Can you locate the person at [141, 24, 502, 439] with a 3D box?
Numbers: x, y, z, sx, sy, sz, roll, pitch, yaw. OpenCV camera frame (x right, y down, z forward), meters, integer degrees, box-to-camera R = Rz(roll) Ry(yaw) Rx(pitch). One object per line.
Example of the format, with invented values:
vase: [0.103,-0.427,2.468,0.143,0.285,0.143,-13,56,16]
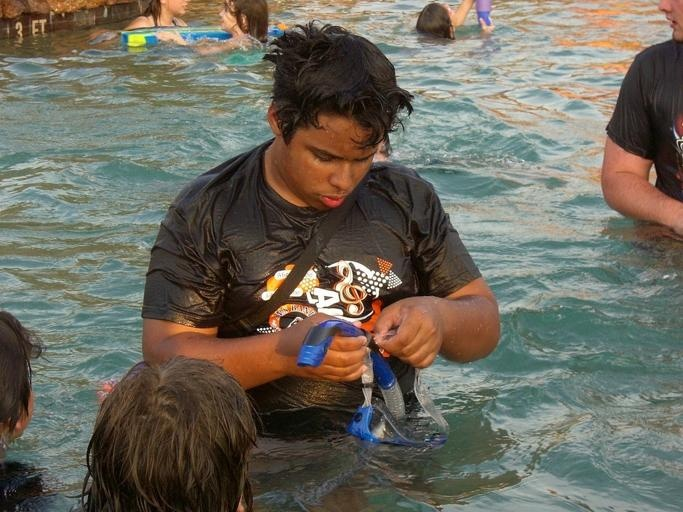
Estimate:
person: [-0.079,-0.098,3.739,1.780,2.091,0.970,1,19,-11]
